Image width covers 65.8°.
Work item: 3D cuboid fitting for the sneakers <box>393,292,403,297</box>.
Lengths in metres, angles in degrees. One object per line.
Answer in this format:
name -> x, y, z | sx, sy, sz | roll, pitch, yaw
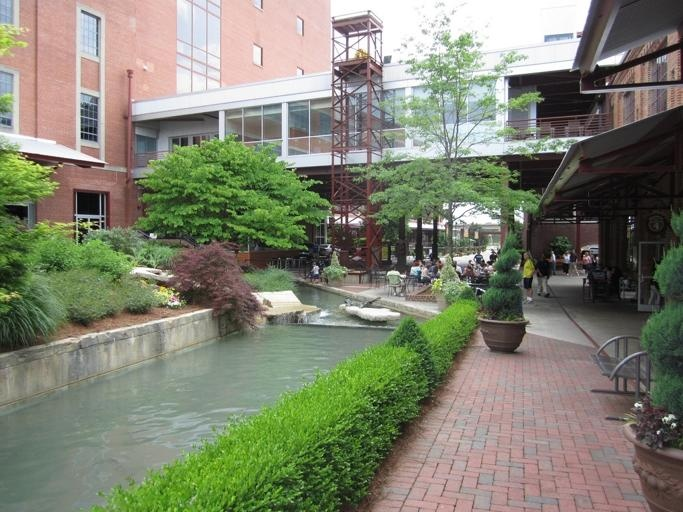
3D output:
sneakers -> 2.348, 1.556, 21.351 | 0.228, 0.222, 0.228 | 0, -1, -13
